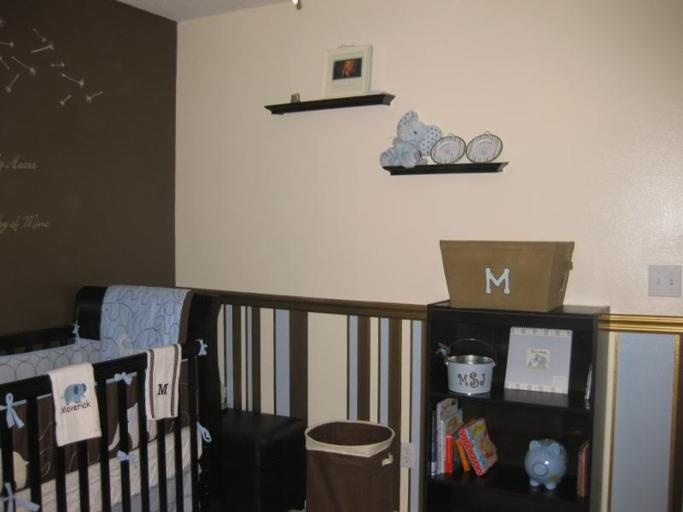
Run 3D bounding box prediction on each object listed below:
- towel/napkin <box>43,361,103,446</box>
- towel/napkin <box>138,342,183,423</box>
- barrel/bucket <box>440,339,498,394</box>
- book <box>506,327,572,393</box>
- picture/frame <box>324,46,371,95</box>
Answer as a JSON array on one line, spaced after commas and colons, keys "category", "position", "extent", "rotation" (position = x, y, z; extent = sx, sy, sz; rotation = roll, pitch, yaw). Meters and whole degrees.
[{"category": "towel/napkin", "position": [-1.083, 0.587, 2.515], "extent": [0.206, 0.315, 0.082], "rotation": [-3, 2, -39]}, {"category": "towel/napkin", "position": [-0.815, 0.594, 2.857], "extent": [0.116, 0.355, 0.205], "rotation": [2, 0, 11]}, {"category": "barrel/bucket", "position": [0.609, 0.525, 2.988], "extent": [0.243, 0.276, 0.216], "rotation": [-1, -1, 28]}, {"category": "book", "position": [0.952, 0.502, 2.930], "extent": [0.267, 0.329, 0.025], "rotation": [2, -12, 28]}, {"category": "picture/frame", "position": [0.045, -1.037, 3.423], "extent": [0.263, 0.317, 0.043], "rotation": [0, -6, 25]}]
